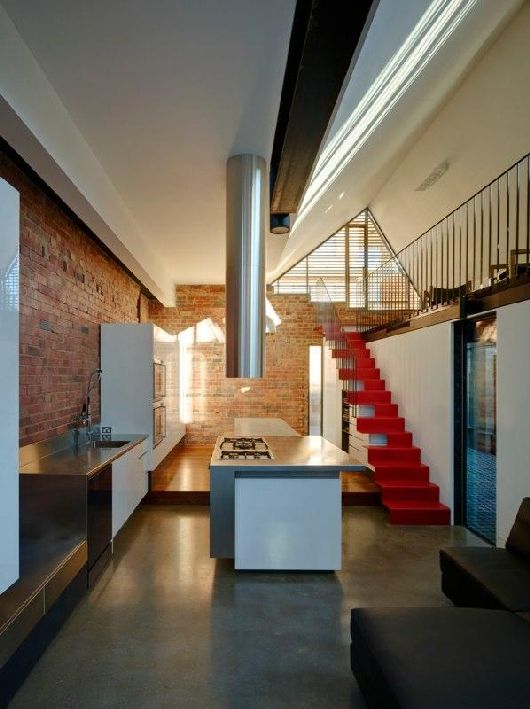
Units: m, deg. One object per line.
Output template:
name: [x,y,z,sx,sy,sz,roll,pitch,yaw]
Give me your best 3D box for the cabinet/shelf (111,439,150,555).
cabinet/shelf: [-1.353,1.301,4.747,0.219,0.696,1.812,7,-12,-10]
